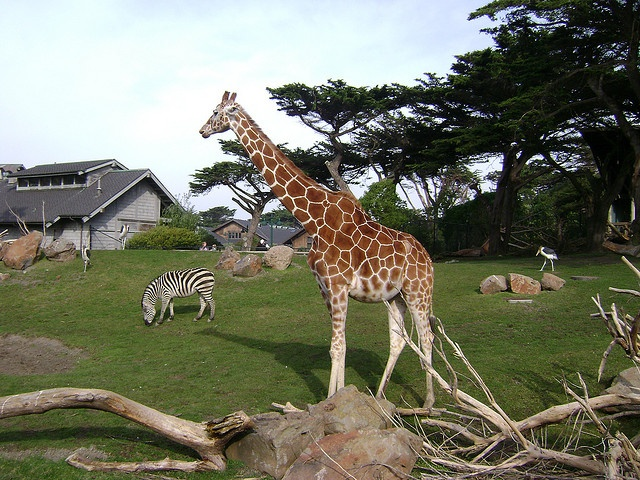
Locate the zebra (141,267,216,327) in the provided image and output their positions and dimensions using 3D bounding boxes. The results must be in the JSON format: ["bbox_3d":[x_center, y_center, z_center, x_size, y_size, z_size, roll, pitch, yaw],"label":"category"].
[{"bbox_3d":[-4.422,1.838,13.545,2.677,1.488,0.686,-9,-13,9],"label":"zebra"}]

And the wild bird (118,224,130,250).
[{"bbox_3d":[-13.000,-0.131,28.423,0.802,1.743,0.552,6,-4,-44],"label":"wild bird"}]
